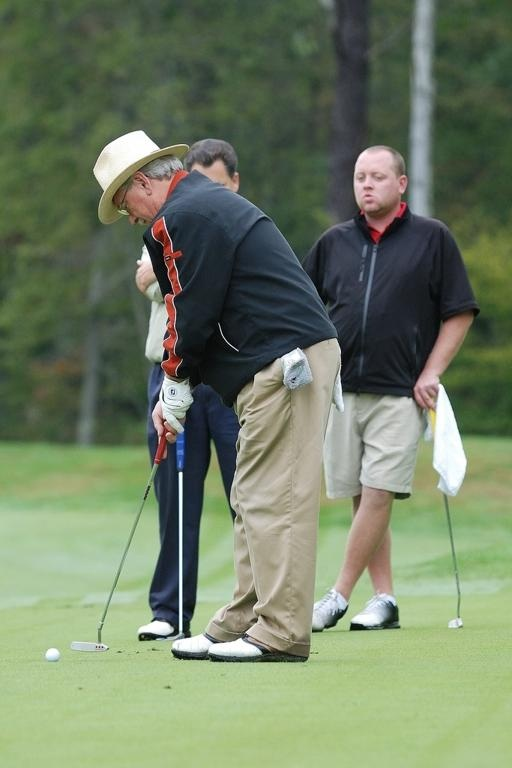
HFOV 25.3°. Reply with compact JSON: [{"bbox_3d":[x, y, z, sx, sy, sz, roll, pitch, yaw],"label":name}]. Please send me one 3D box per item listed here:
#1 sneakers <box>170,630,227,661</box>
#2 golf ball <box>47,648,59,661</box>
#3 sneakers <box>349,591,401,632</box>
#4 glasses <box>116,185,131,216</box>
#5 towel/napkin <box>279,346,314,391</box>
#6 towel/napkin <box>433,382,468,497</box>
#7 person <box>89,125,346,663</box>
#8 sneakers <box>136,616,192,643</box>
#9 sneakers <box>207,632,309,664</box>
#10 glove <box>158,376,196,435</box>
[{"bbox_3d":[-0.178,0.744,3.219,0.119,0.047,0.053,6,-3,-32],"label":"sneakers"},{"bbox_3d":[-0.561,0.739,3.122,0.031,0.028,0.030,8,-12,2],"label":"golf ball"},{"bbox_3d":[0.406,0.791,3.917,0.087,0.078,0.180,-9,-11,35],"label":"sneakers"},{"bbox_3d":[-0.404,-0.553,3.412,0.024,0.068,0.069,-13,0,-7],"label":"glasses"},{"bbox_3d":[0.106,-0.044,3.055,0.083,0.098,0.046,-10,-15,34],"label":"towel/napkin"},{"bbox_3d":[0.687,0.211,4.059,0.119,0.423,0.402,2,5,9],"label":"towel/napkin"},{"bbox_3d":[-0.108,0.012,3.286,0.702,1.491,0.470,4,6,24],"label":"person"},{"bbox_3d":[-0.299,0.793,3.692,0.172,0.061,0.060,11,-19,-26],"label":"sneakers"},{"bbox_3d":[0.010,0.712,3.101,0.251,0.071,0.092,6,-15,-2],"label":"sneakers"},{"bbox_3d":[-0.245,0.056,3.411,0.068,0.159,0.105,25,28,39],"label":"glove"}]
